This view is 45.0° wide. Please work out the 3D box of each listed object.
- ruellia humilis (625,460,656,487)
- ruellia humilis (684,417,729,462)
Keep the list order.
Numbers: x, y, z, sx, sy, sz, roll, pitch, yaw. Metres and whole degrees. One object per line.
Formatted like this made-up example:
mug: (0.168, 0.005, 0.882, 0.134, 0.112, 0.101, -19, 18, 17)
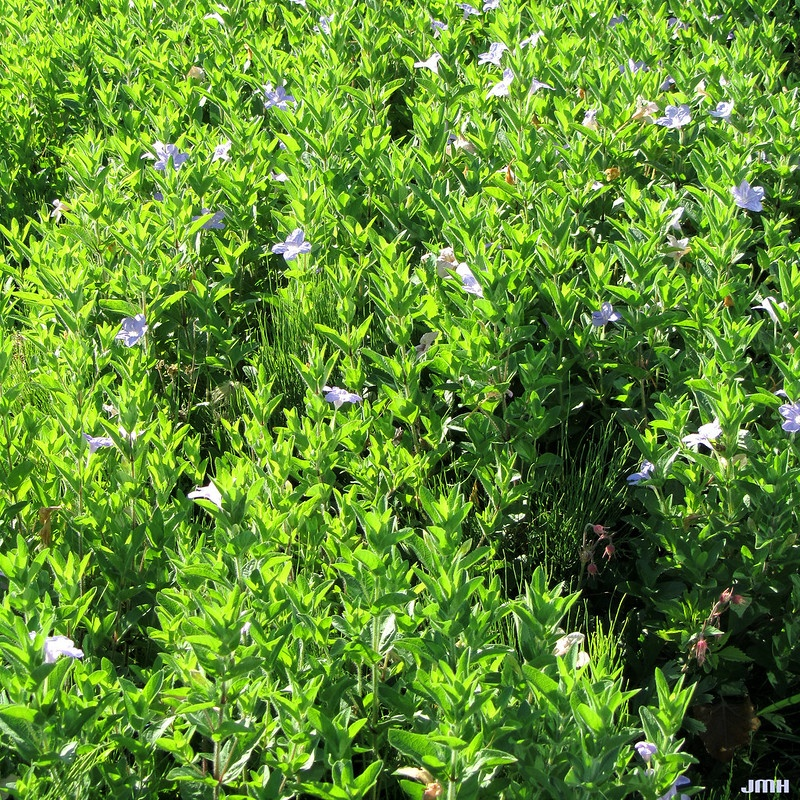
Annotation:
ruellia humilis: (0.707, 0.223, 2.805, 0.082, 0.058, 0.065, -20, 50, -9)
ruellia humilis: (0.874, 0.087, 2.744, 0.087, 0.096, 0.049, -37, 85, -31)
